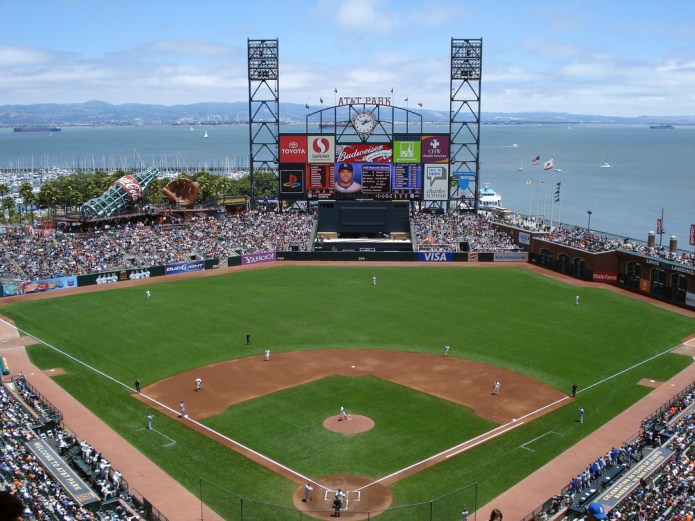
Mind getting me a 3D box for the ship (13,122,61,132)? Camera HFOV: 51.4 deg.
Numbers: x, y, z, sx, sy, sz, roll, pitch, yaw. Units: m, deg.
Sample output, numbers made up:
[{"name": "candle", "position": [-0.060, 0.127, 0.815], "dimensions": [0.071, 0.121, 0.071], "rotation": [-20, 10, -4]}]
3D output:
[{"name": "ship", "position": [-290.064, -122.783, 673.018], "dimensions": [35.452, 5.662, 180.183], "rotation": [-6, 14, -23]}]
